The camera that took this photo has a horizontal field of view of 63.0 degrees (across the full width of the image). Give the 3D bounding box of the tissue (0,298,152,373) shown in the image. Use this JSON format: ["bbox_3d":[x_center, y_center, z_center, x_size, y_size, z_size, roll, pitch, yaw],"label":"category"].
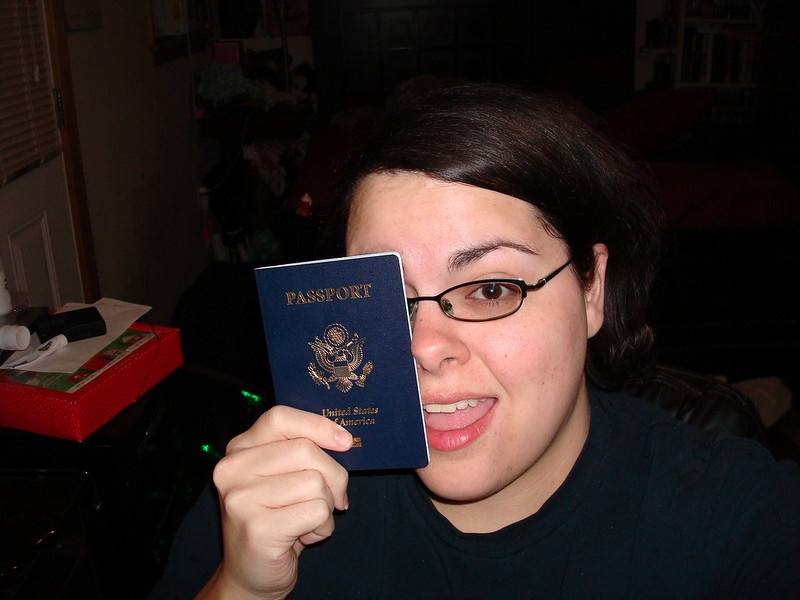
[{"bbox_3d":[-0.930,0.110,1.998,0.201,0.039,0.276,10,36,20],"label":"tissue"}]
